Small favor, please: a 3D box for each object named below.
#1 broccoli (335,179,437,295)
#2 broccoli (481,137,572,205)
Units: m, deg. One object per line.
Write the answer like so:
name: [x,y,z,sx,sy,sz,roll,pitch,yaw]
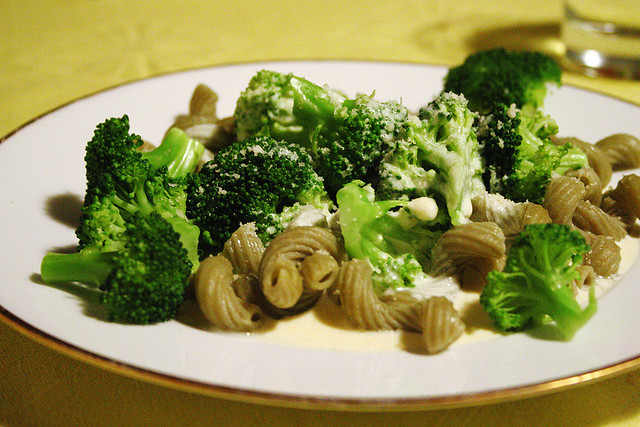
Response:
broccoli: [0.364,0.159,2.669,0.442,0.459,0.154,38,100,23]
broccoli: [1.069,-0.303,2.759,0.375,0.210,0.377,26,43,-4]
